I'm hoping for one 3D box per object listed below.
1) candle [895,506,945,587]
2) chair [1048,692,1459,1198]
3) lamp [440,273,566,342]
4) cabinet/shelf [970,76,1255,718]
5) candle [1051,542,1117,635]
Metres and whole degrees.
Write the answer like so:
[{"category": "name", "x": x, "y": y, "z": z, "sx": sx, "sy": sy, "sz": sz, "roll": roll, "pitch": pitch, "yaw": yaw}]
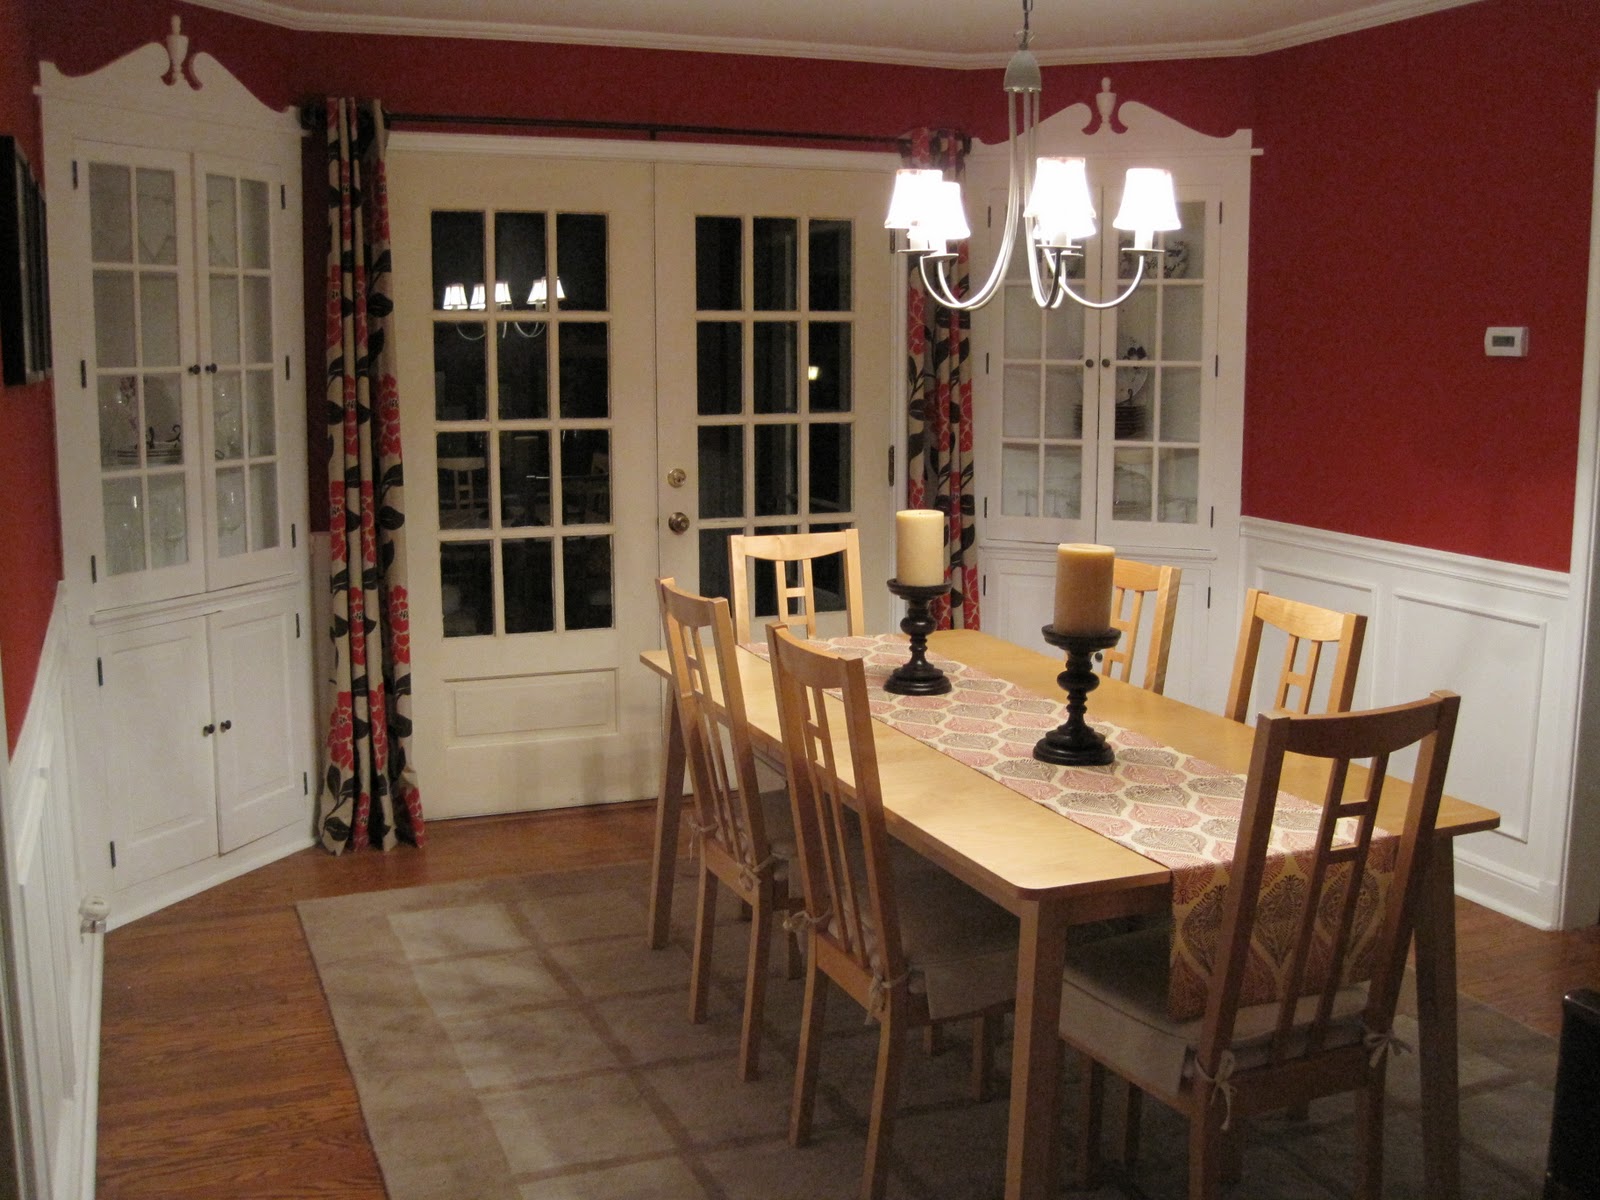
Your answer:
[{"category": "candle", "x": 0.312, "y": -0.138, "z": 3.291, "sx": 0.120, "sy": 0.184, "sz": 0.119, "roll": 4, "pitch": 13, "yaw": 21}, {"category": "chair", "x": 0.943, "y": 0.741, "z": 2.585, "sx": 0.728, "sy": 1.219, "sz": 0.417, "roll": -6, "pitch": 14, "yaw": -22}, {"category": "lamp", "x": -1.134, "y": -1.132, "z": 4.861, "sx": 0.457, "sy": 0.224, "sz": 0.075, "roll": -3, "pitch": 13, "yaw": -9}, {"category": "cabinet/shelf", "x": 1.340, "y": -0.694, "z": 5.585, "sx": 1.140, "sy": 2.966, "sz": 0.344, "roll": 4, "pitch": 32, "yaw": 19}, {"category": "candle", "x": 0.632, "y": -0.034, "z": 2.804, "sx": 0.123, "sy": 0.183, "sz": 0.127, "roll": 2, "pitch": 13, "yaw": 11}]
